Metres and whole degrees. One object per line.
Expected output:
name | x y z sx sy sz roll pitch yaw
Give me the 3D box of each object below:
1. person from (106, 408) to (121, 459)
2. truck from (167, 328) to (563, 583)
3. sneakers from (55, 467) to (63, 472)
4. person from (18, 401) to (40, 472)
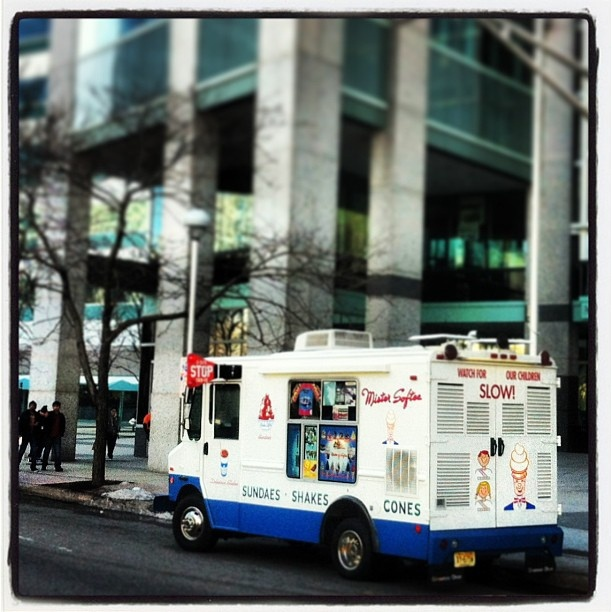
person | -5.249 3.504 24.320 0.295 1.356 1.969 1 -3 -12
truck | 0.795 1.653 11.243 2.987 2.322 3.786 9 -10 -42
sneakers | -5.695 3.785 20.619 0.118 0.129 0.124 0 2 30
person | -6.443 3.019 20.765 0.389 1.573 1.053 1 -3 -17
